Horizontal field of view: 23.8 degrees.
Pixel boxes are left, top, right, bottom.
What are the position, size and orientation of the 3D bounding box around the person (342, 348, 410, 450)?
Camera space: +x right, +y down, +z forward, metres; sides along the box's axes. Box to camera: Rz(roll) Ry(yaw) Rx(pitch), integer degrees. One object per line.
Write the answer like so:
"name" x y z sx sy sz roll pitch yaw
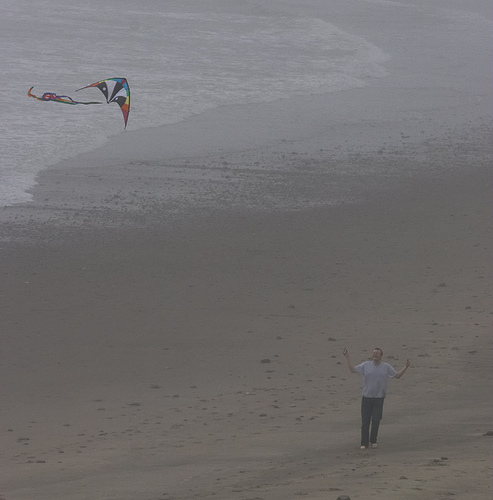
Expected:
"person" 1.871 2.246 18.178 1.175 1.445 0.983 4 15 12
